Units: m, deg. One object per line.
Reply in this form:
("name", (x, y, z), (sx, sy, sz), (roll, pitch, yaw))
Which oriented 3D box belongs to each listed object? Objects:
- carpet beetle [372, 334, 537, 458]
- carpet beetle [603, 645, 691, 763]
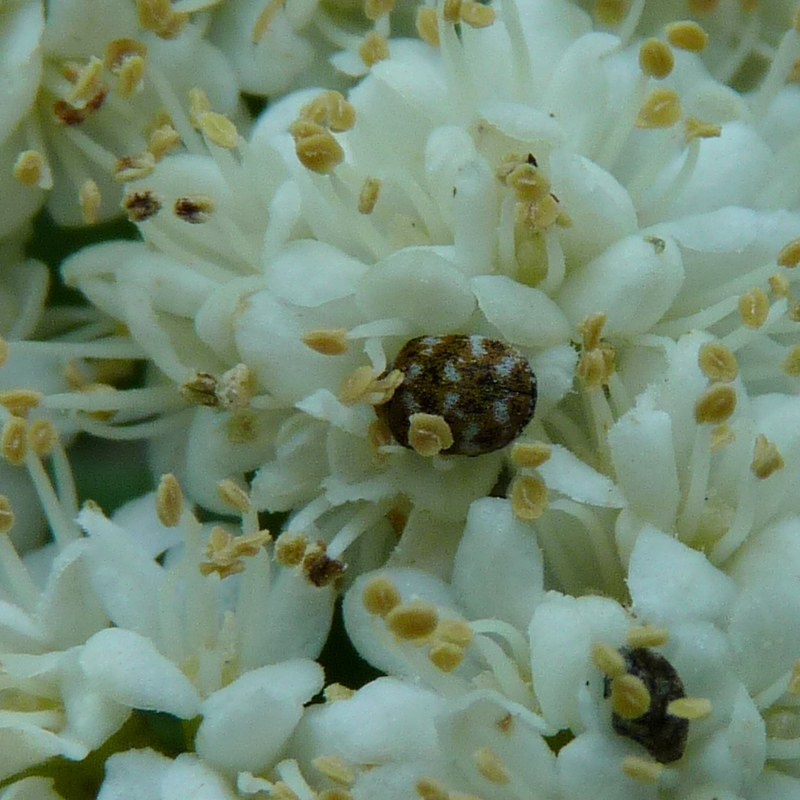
("carpet beetle", (0.056, -0.007, 1.631), (0.150, 0.068, 0.114), (9, 82, 2))
("carpet beetle", (0.231, 0.280, 1.554), (0.085, 0.022, 0.099), (-15, 96, -8))
